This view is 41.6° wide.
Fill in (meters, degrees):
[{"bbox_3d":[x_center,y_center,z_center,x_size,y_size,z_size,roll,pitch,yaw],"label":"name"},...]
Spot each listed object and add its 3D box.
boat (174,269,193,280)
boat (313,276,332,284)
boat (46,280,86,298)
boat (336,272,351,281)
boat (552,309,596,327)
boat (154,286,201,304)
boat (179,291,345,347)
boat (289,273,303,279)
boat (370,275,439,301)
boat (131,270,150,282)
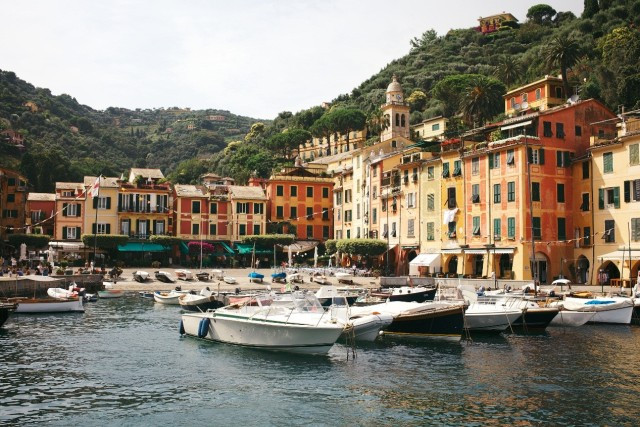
[{"bbox_3d":[-18.577,8.433,115.111,2.527,1.450,1.275,-5,-12,30],"label":"boat"},{"bbox_3d":[0.190,8.977,113.790,2.779,1.317,1.366,-1,-10,8],"label":"boat"},{"bbox_3d":[-29.127,9.104,97.701,3.628,1.397,2.184,0,1,20],"label":"boat"},{"bbox_3d":[3.148,8.519,112.748,2.092,1.375,1.014,0,-10,2],"label":"boat"},{"bbox_3d":[26.370,11.031,89.027,4.714,1.408,1.918,-3,-9,33],"label":"boat"},{"bbox_3d":[-18.513,10.056,102.878,6.266,1.370,2.286,-7,-7,44],"label":"boat"},{"bbox_3d":[-4.788,10.671,80.471,11.374,3.392,6.027,-2,-6,28],"label":"boat"},{"bbox_3d":[-3.216,8.742,114.424,0.894,1.119,2.387,-7,-12,36],"label":"boat"},{"bbox_3d":[9.196,9.036,95.666,8.486,3.292,2.696,-4,-4,29],"label":"boat"},{"bbox_3d":[-24.149,8.618,114.103,2.099,1.563,1.305,3,-10,-11],"label":"boat"}]
